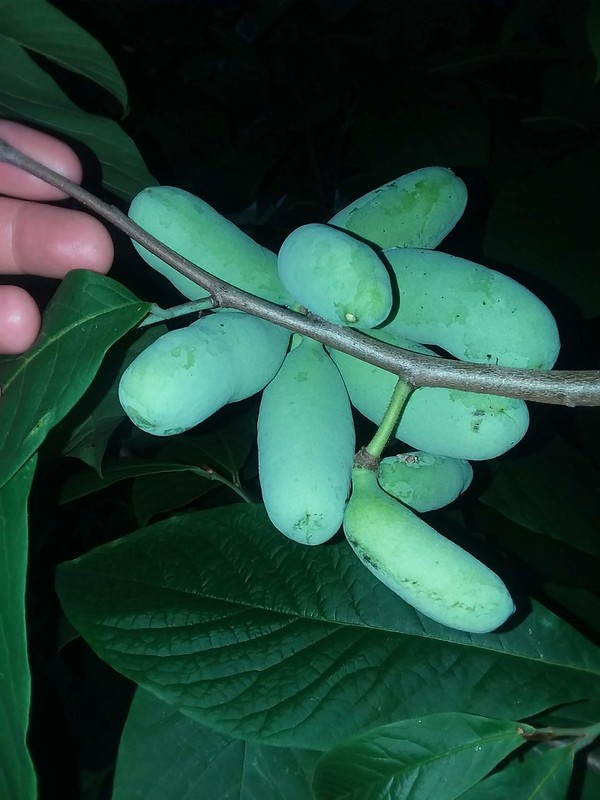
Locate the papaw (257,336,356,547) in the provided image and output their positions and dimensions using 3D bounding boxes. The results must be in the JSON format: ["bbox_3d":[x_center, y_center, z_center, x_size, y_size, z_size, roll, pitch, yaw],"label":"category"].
[{"bbox_3d":[0.007,0.040,0.746,0.100,0.064,0.159,-6,68,0],"label":"papaw"}]

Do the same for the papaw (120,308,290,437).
[{"bbox_3d":[-0.099,-0.017,0.725,0.094,0.051,0.168,13,24,35],"label":"papaw"}]

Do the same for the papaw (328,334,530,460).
[{"bbox_3d":[0.150,-0.001,0.764,0.210,0.087,0.068,29,46,-5],"label":"papaw"}]

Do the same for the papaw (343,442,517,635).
[{"bbox_3d":[0.110,0.129,0.721,0.170,0.092,0.050,43,6,11],"label":"papaw"}]

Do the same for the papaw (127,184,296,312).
[{"bbox_3d":[-0.083,-0.142,0.751,0.131,0.118,0.059,4,31,26],"label":"papaw"}]
